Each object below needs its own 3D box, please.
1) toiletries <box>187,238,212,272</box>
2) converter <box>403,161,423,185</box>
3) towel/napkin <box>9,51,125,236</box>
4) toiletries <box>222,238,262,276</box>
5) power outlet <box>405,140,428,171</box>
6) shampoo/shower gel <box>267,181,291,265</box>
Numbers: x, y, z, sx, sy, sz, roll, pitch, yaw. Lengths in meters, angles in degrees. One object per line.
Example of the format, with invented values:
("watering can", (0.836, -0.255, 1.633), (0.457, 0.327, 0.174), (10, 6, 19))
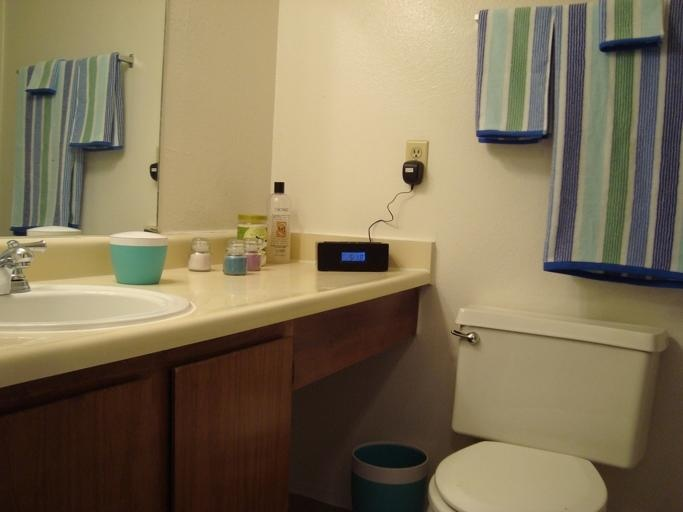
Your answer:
("toiletries", (-0.442, -0.005, 1.712), (0.065, 0.098, 0.064), (-2, 9, -6))
("converter", (0.256, -0.290, 1.934), (0.080, 0.094, 0.052), (1, 9, 6))
("towel/napkin", (-0.763, -0.305, 1.486), (0.306, 0.457, 0.053), (2, 9, -14))
("toiletries", (-0.291, 0.004, 1.711), (0.079, 0.116, 0.131), (0, -1, 18))
("power outlet", (0.269, -0.352, 1.936), (0.101, 0.153, 0.015), (2, 1, 20))
("shampoo/shower gel", (-0.235, -0.116, 1.994), (0.088, 0.284, 0.070), (-3, 11, -34))
